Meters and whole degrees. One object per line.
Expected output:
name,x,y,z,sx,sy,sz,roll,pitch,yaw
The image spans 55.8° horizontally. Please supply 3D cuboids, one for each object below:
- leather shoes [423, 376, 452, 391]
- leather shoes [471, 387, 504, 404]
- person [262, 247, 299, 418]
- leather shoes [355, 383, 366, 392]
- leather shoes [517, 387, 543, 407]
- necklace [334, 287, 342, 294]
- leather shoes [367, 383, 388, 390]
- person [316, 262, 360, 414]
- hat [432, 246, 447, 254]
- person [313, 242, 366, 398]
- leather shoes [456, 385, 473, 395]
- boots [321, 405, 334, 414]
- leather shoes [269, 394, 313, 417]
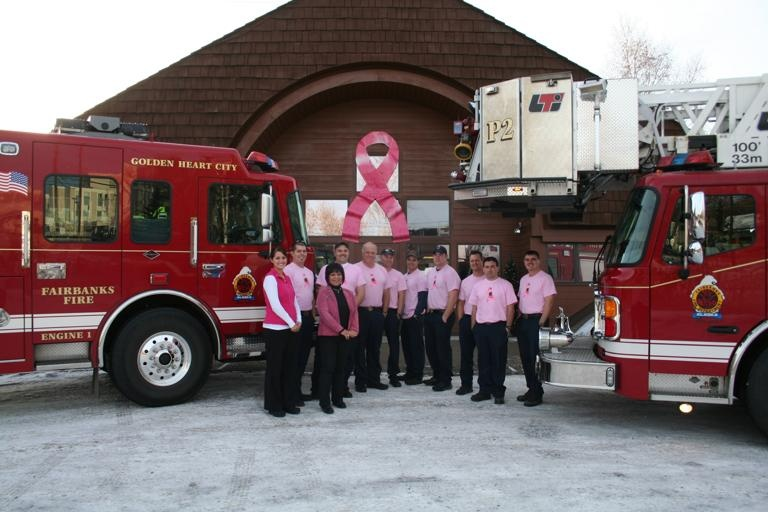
leather shoes,0.953,2.242,12.701,0.600,0.273,0.188,4,0,4
leather shoes,1.716,2.278,11.846,0.615,0.277,0.221,3,-4,11
person,-1.541,1.150,11.009,0.556,2.500,0.536,-1,7,-10
leather shoes,-0.398,2.283,12.523,0.165,0.112,0.105,-5,-7,35
leather shoes,2.348,2.273,11.691,0.173,0.229,0.530,-5,-10,40
necklace,-0.724,0.547,11.438,0.068,0.093,0.077,-2,-8,-9
leather shoes,-0.123,2.279,12.702,0.319,0.135,0.121,-2,-3,6
person,-0.763,1.258,11.354,0.489,2.211,0.793,4,8,33
hat,0.994,-0.117,13.194,0.193,0.175,0.322,-2,-14,21
person,-0.595,0.950,12.116,0.780,2.405,0.652,6,-24,-37
leather shoes,1.357,2.267,12.310,0.302,0.123,0.116,6,-8,-41
boots,-0.867,2.335,11.155,0.196,0.105,0.193,0,7,-4
leather shoes,-1.453,2.315,11.099,0.523,0.230,0.187,2,-1,-27
